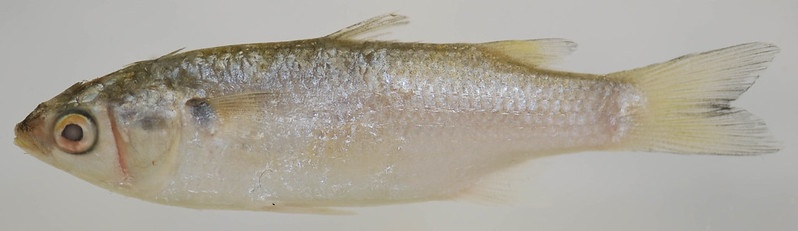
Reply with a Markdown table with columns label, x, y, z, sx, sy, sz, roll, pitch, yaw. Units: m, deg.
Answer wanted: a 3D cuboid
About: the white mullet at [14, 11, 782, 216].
| label | x | y | z | sx | sy | sz | roll | pitch | yaw |
| --- | --- | --- | --- | --- | --- | --- | --- | --- | --- |
| white mullet | -0.466 | 0.037 | 17.484 | 13.274 | 4.280 | 1.477 | 7 | -20 | 1 |
